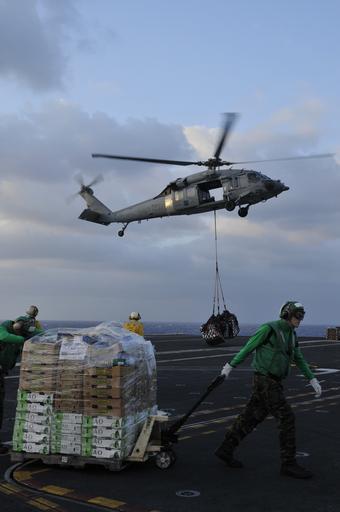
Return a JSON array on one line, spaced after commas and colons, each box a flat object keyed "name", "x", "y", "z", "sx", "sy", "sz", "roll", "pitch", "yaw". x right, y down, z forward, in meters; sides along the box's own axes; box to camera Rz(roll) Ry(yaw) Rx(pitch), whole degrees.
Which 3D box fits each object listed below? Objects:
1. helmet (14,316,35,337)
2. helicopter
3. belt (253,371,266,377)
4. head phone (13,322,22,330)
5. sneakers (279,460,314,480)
[{"name": "helmet", "x": -1.997, "y": 0.985, "z": 6.180, "sx": 0.232, "sy": 0.274, "sz": 0.439, "roll": -2, "pitch": -2, "yaw": 23}, {"name": "helicopter", "x": -0.114, "y": -4.325, "z": 21.903, "sx": 8.985, "sy": 2.620, "sz": 7.061, "roll": -5, "pitch": 36, "yaw": 27}, {"name": "belt", "x": 1.061, "y": 1.393, "z": 5.222, "sx": 0.090, "sy": 0.024, "sz": 0.084, "roll": 22, "pitch": -17, "yaw": -9}, {"name": "head phone", "x": -2.088, "y": 0.961, "z": 5.995, "sx": 0.123, "sy": 0.124, "sz": 0.096, "roll": -1, "pitch": -2, "yaw": 2}, {"name": "sneakers", "x": 1.364, "y": 2.316, "z": 4.787, "sx": 0.339, "sy": 0.136, "sz": 0.130, "roll": -8, "pitch": -7, "yaw": 32}]
